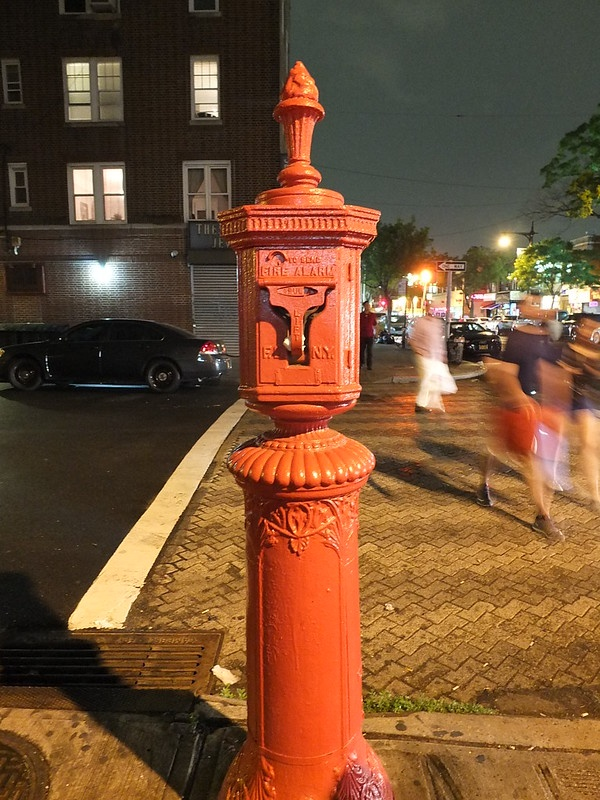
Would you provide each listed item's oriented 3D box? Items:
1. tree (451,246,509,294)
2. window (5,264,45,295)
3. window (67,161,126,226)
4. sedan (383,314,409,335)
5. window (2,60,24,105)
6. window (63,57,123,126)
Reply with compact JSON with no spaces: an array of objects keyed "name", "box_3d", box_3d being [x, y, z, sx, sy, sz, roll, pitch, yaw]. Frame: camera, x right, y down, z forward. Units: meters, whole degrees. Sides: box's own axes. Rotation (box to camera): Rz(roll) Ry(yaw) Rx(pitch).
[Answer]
[{"name":"tree","box_3d":[23.109,-16.346,80.393,4.468,5.160,6.718,8,13,31]},{"name":"window","box_3d":[-8.928,-3.904,20.936,1.104,0.867,0.144,3,11,6]},{"name":"window","box_3d":[-6.533,-6.672,20.682,2.427,2.051,0.301,0,12,2]},{"name":"sedan","box_3d":[5.884,-4.588,39.973,1.588,1.157,2.553,0,-2,-2]},{"name":"window","box_3d":[-9.062,-9.961,20.301,0.611,1.438,0.439,-4,13,-19]},{"name":"window","box_3d":[-6.607,-9.813,20.377,2.472,2.084,0.302,0,5,-6]}]
